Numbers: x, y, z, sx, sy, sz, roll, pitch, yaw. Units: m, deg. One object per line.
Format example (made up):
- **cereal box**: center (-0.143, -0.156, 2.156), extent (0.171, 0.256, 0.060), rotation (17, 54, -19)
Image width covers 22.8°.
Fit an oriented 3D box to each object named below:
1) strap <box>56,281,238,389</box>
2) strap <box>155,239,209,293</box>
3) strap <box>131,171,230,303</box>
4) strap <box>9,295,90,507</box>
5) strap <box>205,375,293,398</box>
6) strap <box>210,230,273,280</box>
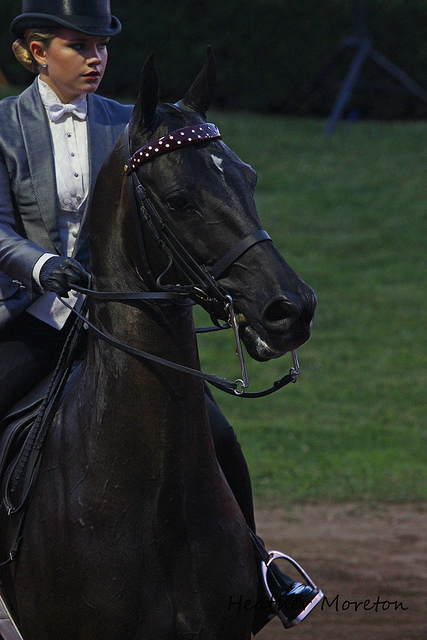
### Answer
- **strap**: center (-0.223, 0.023, 3.496), extent (0.678, 0.207, 0.208), rotation (11, 5, 27)
- **strap**: center (-0.127, -0.172, 3.343), extent (0.145, 0.182, 0.055), rotation (-10, 6, 2)
- **strap**: center (-0.095, -0.276, 3.327), extent (0.088, 0.514, 0.059), rotation (-40, -2, 12)
- **strap**: center (-0.636, 0.264, 3.824), extent (0.070, 0.837, 0.214), rotation (25, -32, -8)
- **strap**: center (0.141, 0.215, 3.459), extent (0.261, 0.078, 0.140), rotation (-4, 9, -12)
- **strap**: center (0.054, -0.193, 3.338), extent (0.247, 0.058, 0.184), rotation (-41, -3, 19)
